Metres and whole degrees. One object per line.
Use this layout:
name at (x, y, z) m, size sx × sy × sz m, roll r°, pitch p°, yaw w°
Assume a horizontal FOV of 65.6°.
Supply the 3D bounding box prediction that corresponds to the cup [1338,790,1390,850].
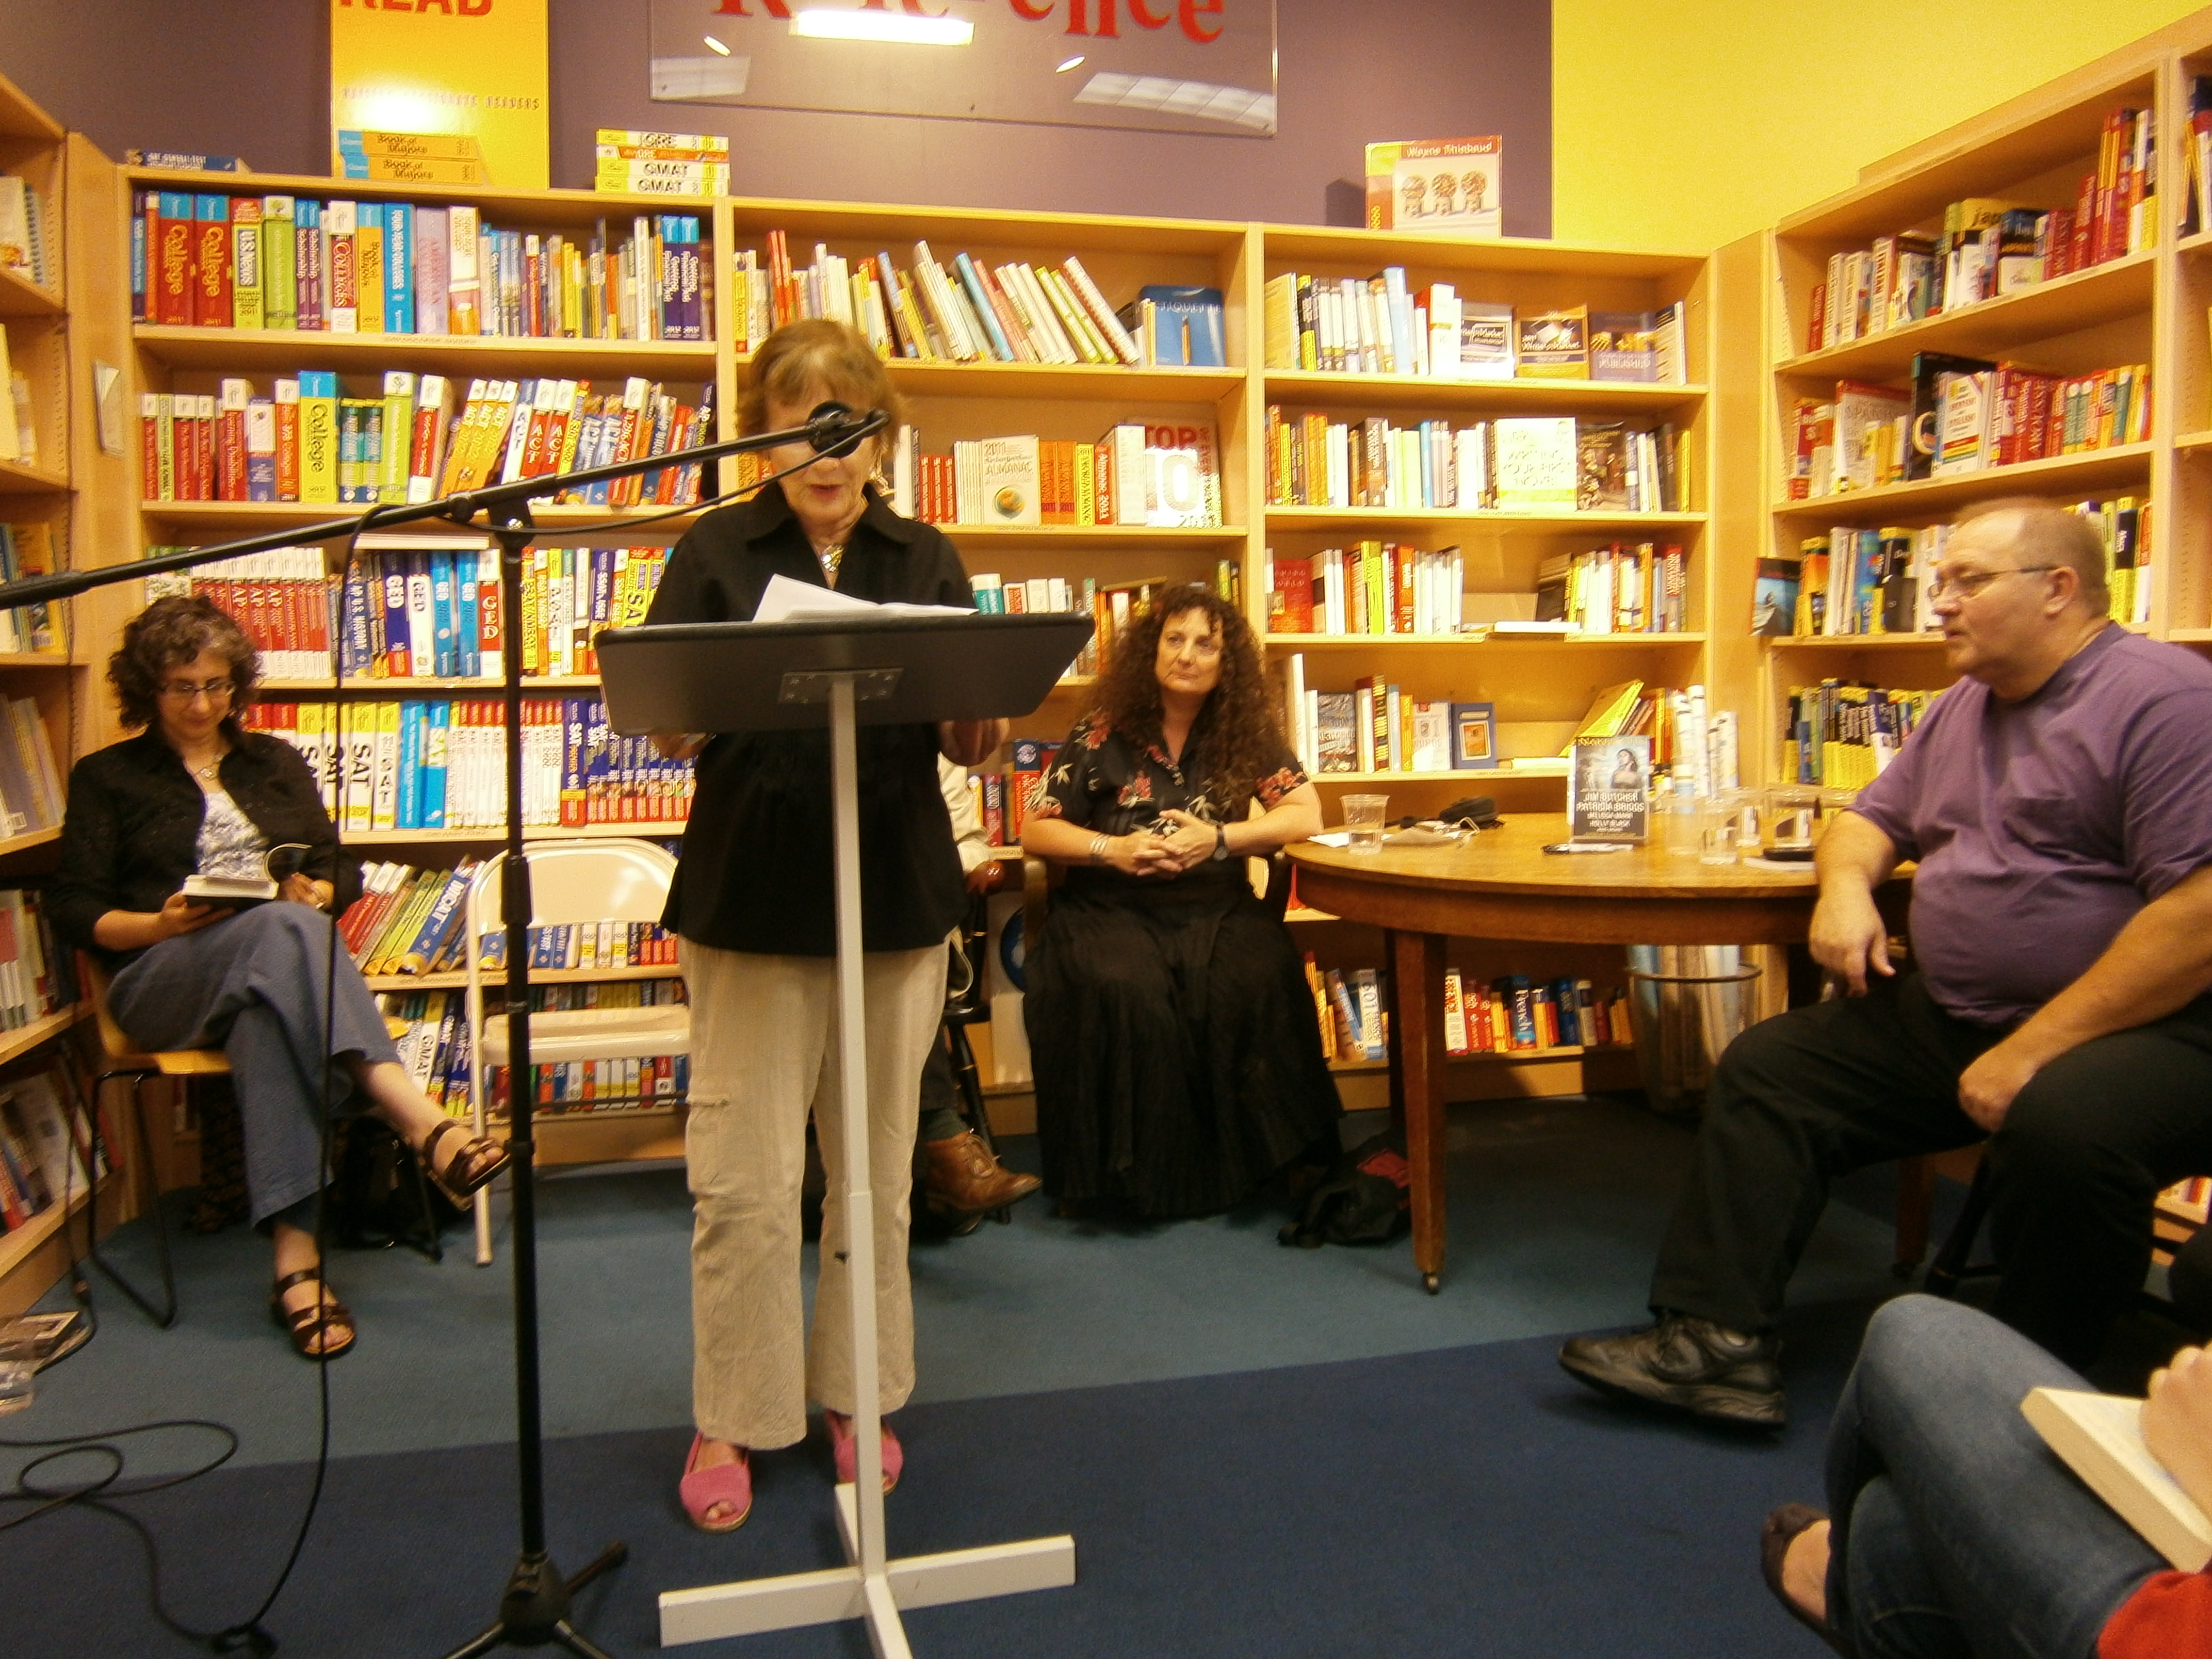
cup at (0.569, -0.026, 3.843) m, size 0.143 × 0.134 × 0.138 m, roll 1°, pitch -3°, yaw 0°

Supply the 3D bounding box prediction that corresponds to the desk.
desk at (1.180, 0.341, 3.974) m, size 1.445 × 0.837 × 1.381 m, roll -15°, pitch 14°, yaw -30°

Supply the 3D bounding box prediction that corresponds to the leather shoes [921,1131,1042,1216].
leather shoes at (-0.306, 0.782, 3.886) m, size 0.313 × 0.139 × 0.128 m, roll -1°, pitch 3°, yaw 31°

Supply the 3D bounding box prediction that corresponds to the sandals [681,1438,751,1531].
sandals at (-0.649, 1.059, 2.851) m, size 0.124 × 0.117 × 0.200 m, roll -4°, pitch 12°, yaw -14°

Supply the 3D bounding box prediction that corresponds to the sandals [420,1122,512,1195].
sandals at (-1.374, 0.701, 3.687) m, size 0.099 × 0.099 × 0.278 m, roll -33°, pitch 14°, yaw -35°

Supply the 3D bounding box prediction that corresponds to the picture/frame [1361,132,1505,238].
picture/frame at (0.888, -1.772, 4.714) m, size 0.426 × 0.342 × 0.145 m, roll 0°, pitch 4°, yaw -2°

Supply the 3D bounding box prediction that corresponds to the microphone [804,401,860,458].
microphone at (-0.388, -0.571, 2.430) m, size 0.077 × 0.094 × 0.058 m, roll -6°, pitch 35°, yaw -5°
